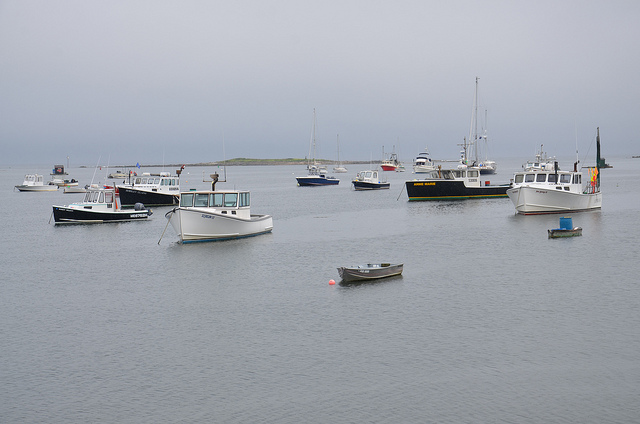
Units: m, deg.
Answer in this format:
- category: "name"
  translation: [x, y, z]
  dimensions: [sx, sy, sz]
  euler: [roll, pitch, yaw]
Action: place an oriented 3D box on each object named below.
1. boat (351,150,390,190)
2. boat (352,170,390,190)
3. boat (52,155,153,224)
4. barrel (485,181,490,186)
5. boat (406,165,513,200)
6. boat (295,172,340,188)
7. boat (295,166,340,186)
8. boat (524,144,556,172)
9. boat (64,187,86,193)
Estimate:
- category: "boat"
  translation: [8.970, -5.670, 112.937]
  dimensions: [2.900, 4.568, 8.115]
  euler: [6, 9, 34]
- category: "boat"
  translation: [8.854, -5.425, 111.965]
  dimensions: [6.595, 2.868, 3.207]
  euler: [-6, 9, -44]
- category: "boat"
  translation: [-21.819, -0.594, 63.106]
  dimensions: [8.162, 3.532, 2.476]
  euler: [-6, 14, -21]
- category: "barrel"
  translation: [22.094, -3.794, 84.647]
  dimensions: [0.832, 0.728, 0.436]
  euler: [1, 12, 7]
- category: "boat"
  translation: [17.099, -3.611, 81.810]
  dimensions: [11.829, 4.191, 2.757]
  euler: [0, 14, 5]
- category: "boat"
  translation: [0.757, -7.236, 132.035]
  dimensions: [11.885, 3.078, 4.116]
  euler: [2, -2, -33]
- category: "boat"
  translation: [0.001, -7.461, 132.065]
  dimensions: [3.988, 3.200, 8.940]
  euler: [-3, -5, 45]
- category: "boat"
  translation: [29.302, -7.090, 84.661]
  dimensions: [1.840, 3.459, 6.150]
  euler: [8, 2, 29]
- category: "boat"
  translation: [-47.123, -4.310, 123.378]
  dimensions: [5.085, 1.270, 2.678]
  euler: [2, -2, 0]
